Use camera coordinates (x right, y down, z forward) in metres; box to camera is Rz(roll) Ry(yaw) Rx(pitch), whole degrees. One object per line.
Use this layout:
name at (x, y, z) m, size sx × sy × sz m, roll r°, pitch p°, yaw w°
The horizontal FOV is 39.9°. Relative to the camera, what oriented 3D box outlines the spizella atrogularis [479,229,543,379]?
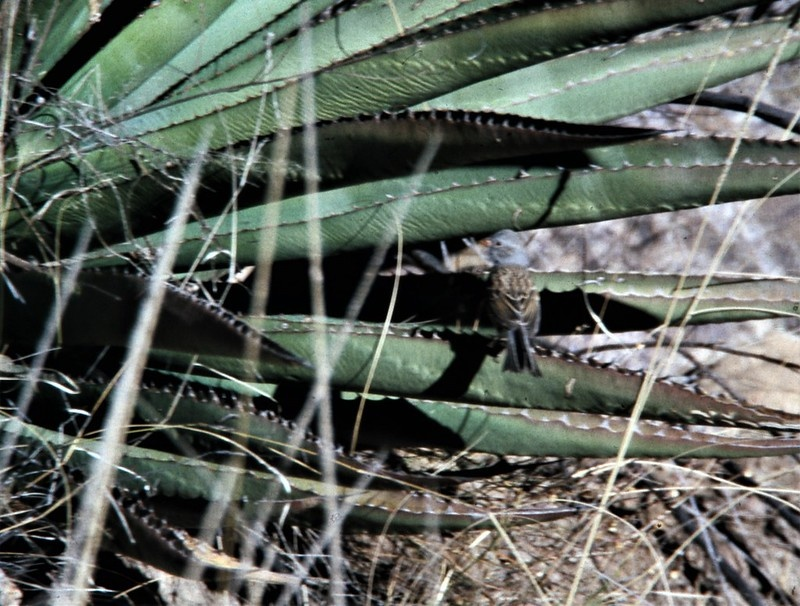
spizella atrogularis at (0.251, -0.027, 2.870) m, size 0.220 × 0.266 × 0.299 m, roll 2°, pitch 102°, yaw 7°
